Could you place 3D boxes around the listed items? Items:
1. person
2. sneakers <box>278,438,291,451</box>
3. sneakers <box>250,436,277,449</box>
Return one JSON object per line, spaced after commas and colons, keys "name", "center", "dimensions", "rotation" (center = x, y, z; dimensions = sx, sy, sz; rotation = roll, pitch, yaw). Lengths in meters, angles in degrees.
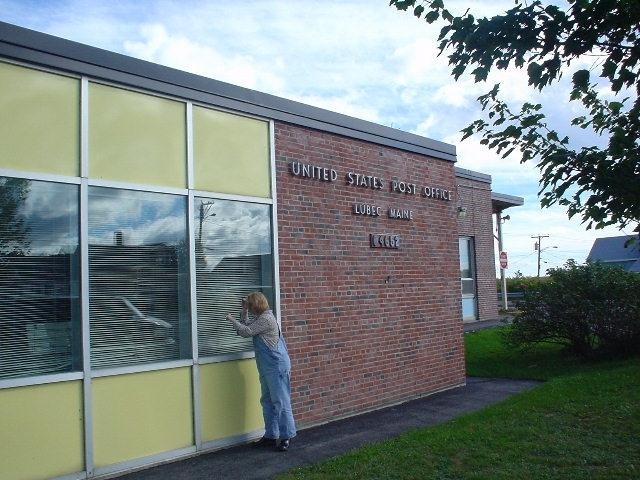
{"name": "person", "center": [-0.789, 1.870, 7.586], "dimensions": [0.692, 2.214, 0.338], "rotation": [-6, -4, 0]}
{"name": "sneakers", "center": [-0.517, 2.884, 7.434], "dimensions": [0.161, 0.164, 0.192], "rotation": [-4, -4, -5]}
{"name": "sneakers", "center": [-0.791, 2.908, 7.580], "dimensions": [0.438, 0.225, 0.140], "rotation": [3, -10, 6]}
